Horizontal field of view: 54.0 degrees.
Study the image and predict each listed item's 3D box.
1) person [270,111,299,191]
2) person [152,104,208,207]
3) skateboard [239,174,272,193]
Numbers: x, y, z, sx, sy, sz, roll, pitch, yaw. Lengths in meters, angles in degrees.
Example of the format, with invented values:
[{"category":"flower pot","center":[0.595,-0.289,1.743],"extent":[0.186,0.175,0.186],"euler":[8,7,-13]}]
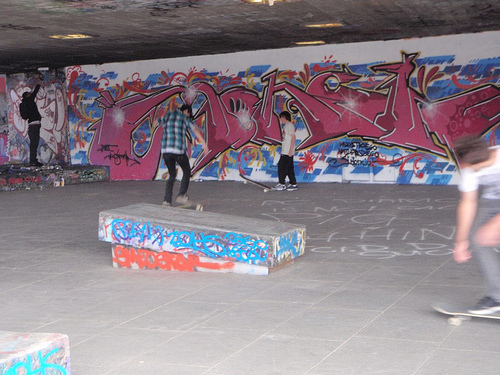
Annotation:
[{"category":"person","center":[0.976,-0.997,13.679],"extent":[0.687,2.182,0.897],"euler":[4,16,26]},{"category":"person","center":[-1.547,-0.671,10.861],"extent":[1.006,2.251,1.116],"euler":[-2,14,6]},{"category":"skateboard","center":[0.189,-0.112,15.024],"extent":[0.969,0.162,0.227],"euler":[28,-6,9]}]
